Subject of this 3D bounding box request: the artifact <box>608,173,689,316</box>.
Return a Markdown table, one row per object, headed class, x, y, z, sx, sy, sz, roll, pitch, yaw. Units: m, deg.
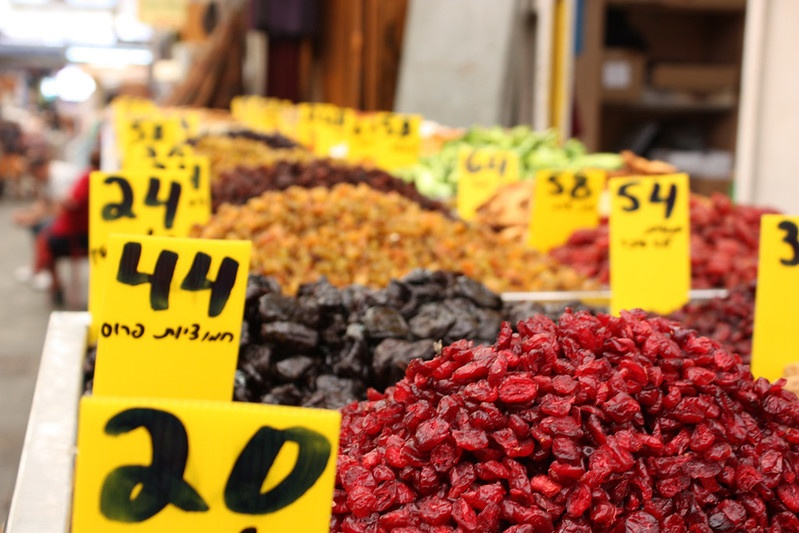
| class | x | y | z | sx | sy | sz | roll | pitch | yaw |
| --- | --- | --- | --- | --- | --- | --- | --- | --- | --- |
| artifact | 0.890 | -0.078 | 2.626 | 0.321 | 0.488 | 0.239 | 0 | 21 | -4 |
